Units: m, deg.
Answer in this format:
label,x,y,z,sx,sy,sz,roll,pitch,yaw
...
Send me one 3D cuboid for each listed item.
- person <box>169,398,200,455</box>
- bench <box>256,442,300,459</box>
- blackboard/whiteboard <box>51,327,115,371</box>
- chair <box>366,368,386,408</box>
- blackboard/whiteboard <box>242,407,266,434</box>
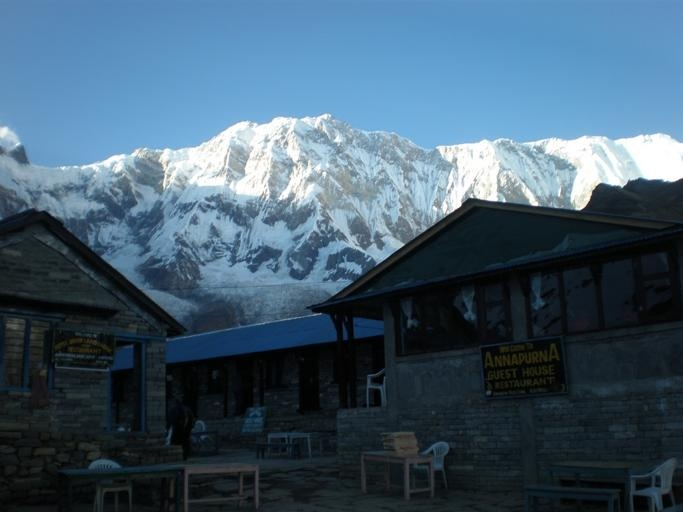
label,x,y,z,sx,sy,sz,roll,pitch,yaw
person,-3.968,4.224,19.897,0.585,1.225,1.168,0,-18,-10
bench,-1.909,5.820,23.893,1.129,0.516,2.291,0,-18,-9
blackboard/whiteboard,-6.062,2.308,18.741,1.441,0.954,0.812,9,-42,-27
chair,0.866,3.443,20.854,0.642,0.922,0.675,2,-6,-45
blackboard/whiteboard,-2.919,5.503,26.932,0.808,0.783,0.109,-12,-39,35
